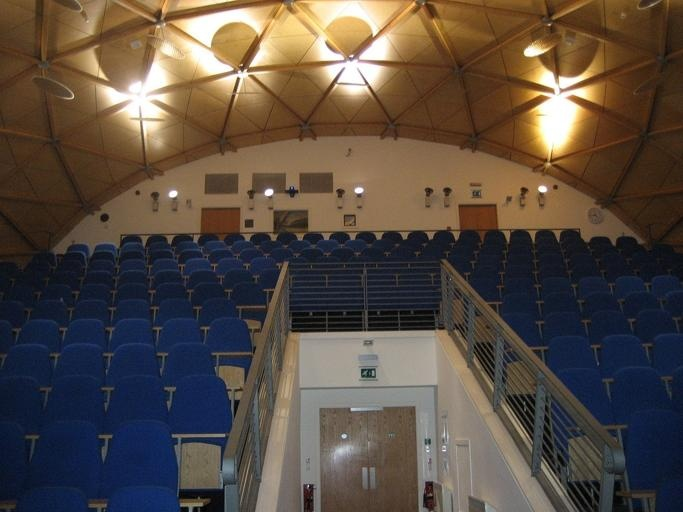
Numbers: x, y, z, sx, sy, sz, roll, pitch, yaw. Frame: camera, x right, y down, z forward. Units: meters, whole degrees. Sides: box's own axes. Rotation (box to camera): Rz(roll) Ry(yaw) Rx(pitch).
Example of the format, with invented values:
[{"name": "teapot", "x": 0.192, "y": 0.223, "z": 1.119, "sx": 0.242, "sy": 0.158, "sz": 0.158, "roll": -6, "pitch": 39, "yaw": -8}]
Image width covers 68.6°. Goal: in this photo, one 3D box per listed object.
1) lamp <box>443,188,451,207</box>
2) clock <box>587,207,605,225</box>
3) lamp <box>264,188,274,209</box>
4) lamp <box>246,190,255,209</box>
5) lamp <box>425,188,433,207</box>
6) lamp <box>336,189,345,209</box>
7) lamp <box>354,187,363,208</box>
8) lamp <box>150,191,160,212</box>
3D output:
[{"name": "lamp", "x": 3.056, "y": -1.756, "z": 14.355, "sx": 0.255, "sy": 0.517, "sz": 0.401, "roll": -3, "pitch": -34, "yaw": 6}, {"name": "clock", "x": 7.261, "y": -1.151, "z": 14.259, "sx": 0.381, "sy": 0.450, "sz": 0.042, "roll": 9, "pitch": -4, "yaw": 15}, {"name": "lamp", "x": -2.103, "y": -1.743, "z": 14.428, "sx": 0.294, "sy": 0.610, "sz": 0.389, "roll": 1, "pitch": -34, "yaw": 0}, {"name": "lamp", "x": -2.610, "y": -1.674, "z": 14.399, "sx": 0.223, "sy": 0.498, "sz": 0.377, "roll": 1, "pitch": -34, "yaw": 1}, {"name": "lamp", "x": 2.514, "y": -1.740, "z": 14.288, "sx": 0.272, "sy": 0.507, "sz": 0.423, "roll": -3, "pitch": -34, "yaw": 6}, {"name": "lamp", "x": -0.032, "y": -1.720, "z": 14.361, "sx": 0.254, "sy": 0.514, "sz": 0.402, "roll": 2, "pitch": -34, "yaw": 0}, {"name": "lamp", "x": 0.497, "y": -1.743, "z": 14.341, "sx": 0.271, "sy": 0.598, "sz": 0.374, "roll": 1, "pitch": -34, "yaw": 1}, {"name": "lamp", "x": -5.334, "y": -1.605, "z": 14.283, "sx": 0.241, "sy": 0.521, "sz": 0.298, "roll": 1, "pitch": -33, "yaw": 1}]
